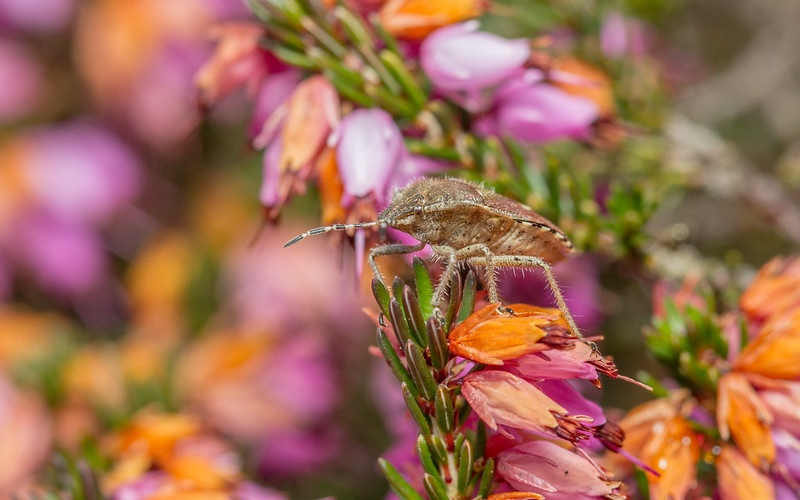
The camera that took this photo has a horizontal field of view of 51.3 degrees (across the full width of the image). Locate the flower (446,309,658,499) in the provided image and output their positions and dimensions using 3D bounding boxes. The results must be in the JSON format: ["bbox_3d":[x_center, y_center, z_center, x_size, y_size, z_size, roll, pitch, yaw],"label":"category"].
[{"bbox_3d":[0.319,0.395,2.068,0.494,0.246,0.393,24,68,11],"label":"flower"}]
